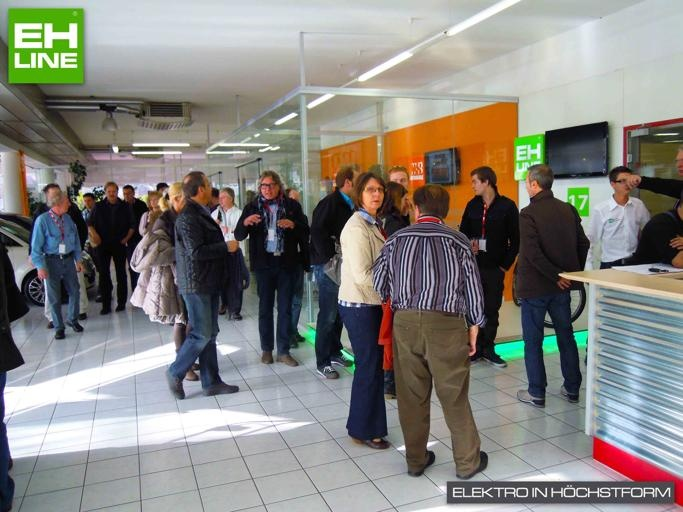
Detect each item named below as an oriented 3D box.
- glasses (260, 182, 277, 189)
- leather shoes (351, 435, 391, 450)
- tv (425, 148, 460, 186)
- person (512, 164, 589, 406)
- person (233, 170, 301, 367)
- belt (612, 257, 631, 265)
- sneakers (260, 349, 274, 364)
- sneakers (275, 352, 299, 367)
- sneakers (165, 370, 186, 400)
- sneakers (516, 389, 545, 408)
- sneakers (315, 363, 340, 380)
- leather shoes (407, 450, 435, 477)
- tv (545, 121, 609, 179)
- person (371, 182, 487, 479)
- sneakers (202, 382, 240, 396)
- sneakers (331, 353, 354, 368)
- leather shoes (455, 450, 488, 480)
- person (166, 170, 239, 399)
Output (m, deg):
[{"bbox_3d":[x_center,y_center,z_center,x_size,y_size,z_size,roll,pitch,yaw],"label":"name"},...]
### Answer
[{"bbox_3d":[-0.755,-0.722,4.954,0.153,0.057,0.063,-3,9,-6],"label":"glasses"},{"bbox_3d":[0.223,1.353,3.515,0.270,0.085,0.103,-2,-2,17],"label":"leather shoes"},{"bbox_3d":[1.143,-1.069,5.721,0.449,0.410,0.238,-7,12,-13],"label":"tv"},{"bbox_3d":[1.752,0.250,3.990,0.564,1.995,0.459,1,10,18],"label":"person"},{"bbox_3d":[-0.722,0.128,5.083,0.731,2.022,0.479,-3,9,-5],"label":"person"},{"bbox_3d":[2.776,0.051,4.723,0.085,0.062,0.083,1,4,9],"label":"belt"},{"bbox_3d":[-0.785,1.080,5.178,0.152,0.144,0.091,6,4,26],"label":"sneakers"},{"bbox_3d":[-0.568,1.098,5.060,0.255,0.100,0.100,-1,2,42],"label":"sneakers"},{"bbox_3d":[-1.509,1.191,4.432,0.137,0.316,0.118,-18,-2,4],"label":"sneakers"},{"bbox_3d":[1.604,1.199,4.072,0.085,0.084,0.202,-5,13,-22],"label":"sneakers"},{"bbox_3d":[-0.126,1.148,4.747,0.092,0.090,0.234,-3,2,-37],"label":"sneakers"},{"bbox_3d":[0.543,1.389,3.248,0.090,0.103,0.264,4,19,26],"label":"leather shoes"},{"bbox_3d":[2.779,-1.232,5.583,0.135,0.702,0.967,-7,8,-26],"label":"tv"},{"bbox_3d":[0.576,0.488,3.162,0.784,1.822,0.551,1,5,12],"label":"person"},{"bbox_3d":[-1.113,1.222,4.446,0.327,0.128,0.116,-2,0,-18],"label":"sneakers"},{"bbox_3d":[0.008,1.090,5.022,0.249,0.098,0.091,4,17,30],"label":"sneakers"},{"bbox_3d":[0.859,1.372,3.140,0.100,0.115,0.296,2,21,31],"label":"leather shoes"},{"bbox_3d":[-1.259,0.278,4.283,0.711,2.041,0.431,-3,9,-6],"label":"person"}]
